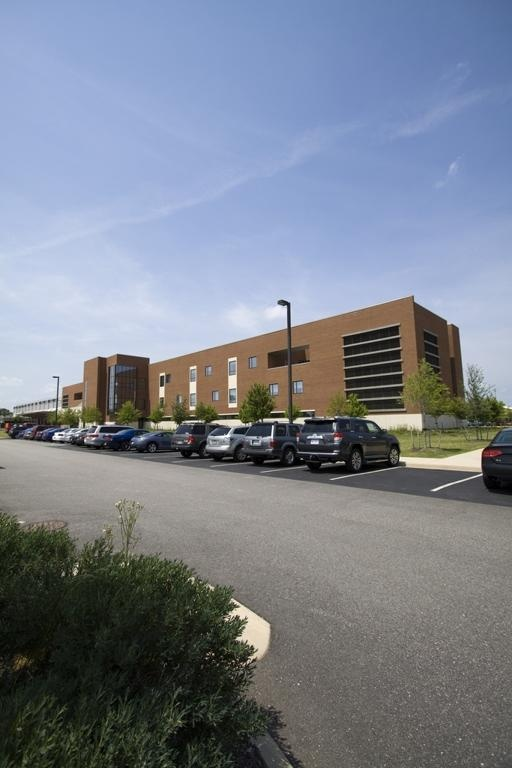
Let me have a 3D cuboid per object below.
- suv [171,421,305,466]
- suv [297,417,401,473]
[{"bbox_3d":[-0.915,2.378,20.393,2.849,1.693,7.815,1,-6,-31],"label":"suv"},{"bbox_3d":[2.932,1.871,15.206,3.156,1.404,1.490,-3,0,-45],"label":"suv"}]
